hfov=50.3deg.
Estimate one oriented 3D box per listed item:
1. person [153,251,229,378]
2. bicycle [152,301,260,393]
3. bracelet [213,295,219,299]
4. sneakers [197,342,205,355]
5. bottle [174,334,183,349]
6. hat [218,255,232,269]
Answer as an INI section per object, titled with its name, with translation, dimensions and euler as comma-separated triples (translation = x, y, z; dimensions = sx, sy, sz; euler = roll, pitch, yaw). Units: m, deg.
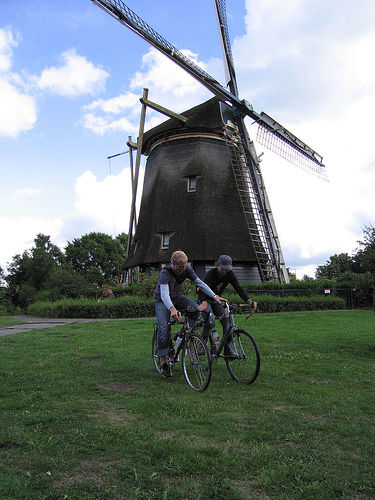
[person]
translation = -0.070, 0.941, 6.362
dimensions = 1.155, 1.808, 1.227
euler = 2, 13, 20
[bicycle]
translation = 0.372, 1.428, 6.157
dimensions = 1.276, 1.276, 0.988
euler = -2, -8, -4
[bracelet]
translation = 0.457, 0.749, 6.367
dimensions = 0.059, 0.028, 0.076
euler = 0, 1, -3
[sneakers]
translation = 0.206, 1.468, 5.901
dimensions = 0.098, 0.184, 0.053
euler = -6, 18, -21
[bottle]
translation = -0.144, 1.471, 6.385
dimensions = 0.063, 0.207, 0.129
euler = 21, -6, -42
[hat]
translation = 0.626, 0.186, 6.628
dimensions = 0.185, 0.129, 0.242
euler = 5, 18, -17
